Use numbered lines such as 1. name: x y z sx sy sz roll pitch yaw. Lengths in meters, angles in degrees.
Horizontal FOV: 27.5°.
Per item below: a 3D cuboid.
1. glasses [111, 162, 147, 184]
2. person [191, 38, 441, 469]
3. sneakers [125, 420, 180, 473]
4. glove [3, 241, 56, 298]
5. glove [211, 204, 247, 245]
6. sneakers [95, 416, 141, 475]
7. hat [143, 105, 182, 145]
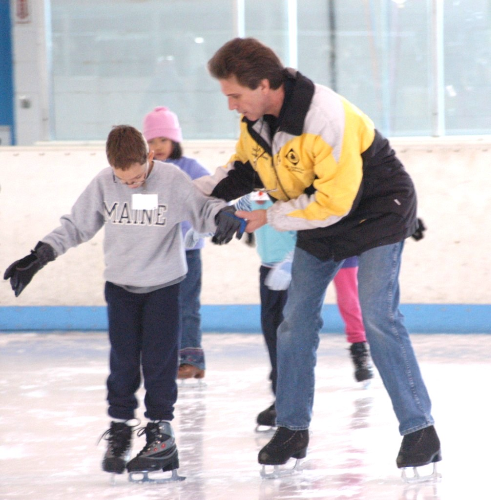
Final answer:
1. glasses: -0.435 -0.299 3.876 0.134 0.091 0.129 -3 14 -5
2. person: 0.288 -0.001 3.833 0.939 1.618 0.577 1 16 14
3. sneakers: -0.355 0.757 3.834 0.197 0.177 0.144 -4 14 -6
4. glove: -0.871 0.073 4.031 0.161 0.247 0.106 43 -13 -2
5. glove: -0.072 -0.106 3.922 0.064 0.133 0.138 23 17 -23
6. sneakers: -0.491 0.761 3.852 0.104 0.202 0.084 -1 -29 3
7. hat: -0.382 -0.596 4.717 0.173 0.147 0.175 1 -6 -5
